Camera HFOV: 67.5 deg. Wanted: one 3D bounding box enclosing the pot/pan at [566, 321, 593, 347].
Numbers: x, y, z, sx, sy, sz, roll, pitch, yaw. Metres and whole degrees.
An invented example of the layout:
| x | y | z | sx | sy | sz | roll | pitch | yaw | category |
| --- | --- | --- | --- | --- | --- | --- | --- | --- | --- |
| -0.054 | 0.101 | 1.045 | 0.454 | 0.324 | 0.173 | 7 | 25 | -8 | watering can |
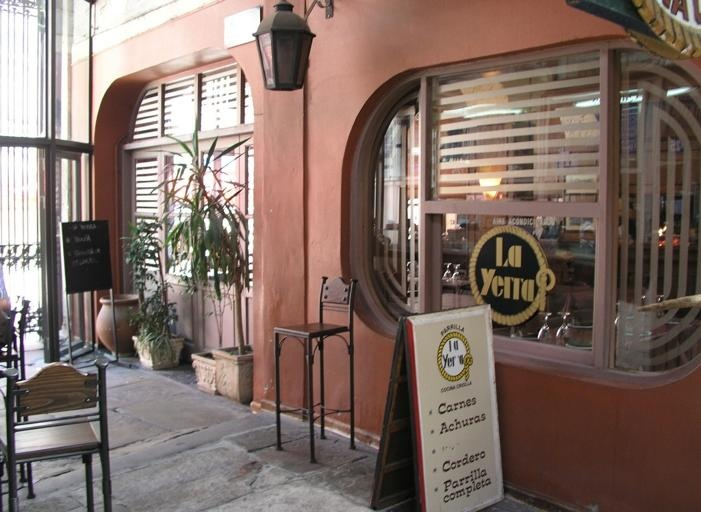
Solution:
| x | y | z | sx | sy | sz | roll | pitch | yaw | category |
| --- | --- | --- | --- | --- | --- | --- | --- | --- | --- |
| 1.385 | 0.470 | 3.180 | 0.124 | 0.133 | 0.112 | -2 | 6 | -30 | pot/pan |

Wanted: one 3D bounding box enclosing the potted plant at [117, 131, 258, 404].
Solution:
| x | y | z | sx | sy | sz | roll | pitch | yaw | category |
| --- | --- | --- | --- | --- | --- | --- | --- | --- | --- |
| -1.611 | -0.041 | 5.592 | 1.083 | 2.649 | 2.216 | -4 | 6 | -22 | potted plant |

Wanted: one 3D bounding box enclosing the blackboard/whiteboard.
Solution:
| x | y | z | sx | sy | sz | roll | pitch | yaw | category |
| --- | --- | --- | --- | --- | --- | --- | --- | --- | --- |
| -3.049 | 0.012 | 6.040 | 0.097 | 1.102 | 0.720 | 1 | 6 | 43 | blackboard/whiteboard |
